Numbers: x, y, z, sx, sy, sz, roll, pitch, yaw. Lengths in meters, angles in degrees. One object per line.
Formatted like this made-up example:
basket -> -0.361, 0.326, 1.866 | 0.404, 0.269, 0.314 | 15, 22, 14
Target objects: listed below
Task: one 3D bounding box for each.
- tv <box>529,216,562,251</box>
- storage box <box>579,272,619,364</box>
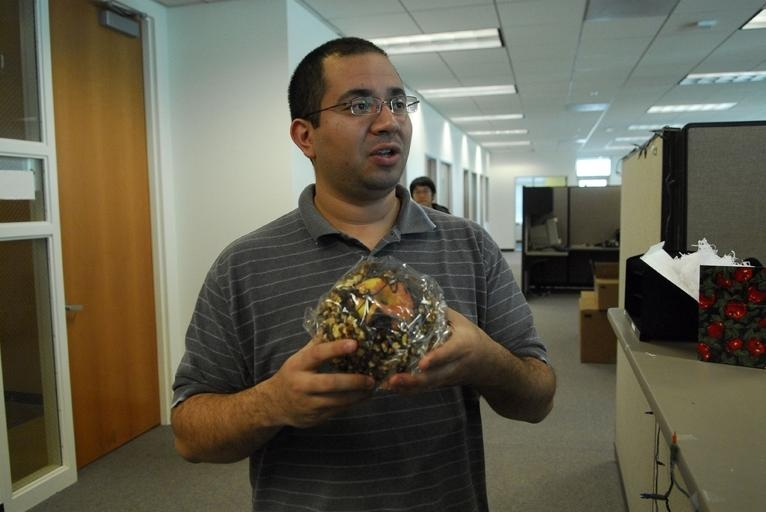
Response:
tv -> 2.617, -0.358, 9.077 | 0.505, 0.555, 0.535 | -5, 13, -7
storage box -> 2.066, 0.627, 5.211 | 0.422, 0.837, 0.850 | 0, 4, 11
